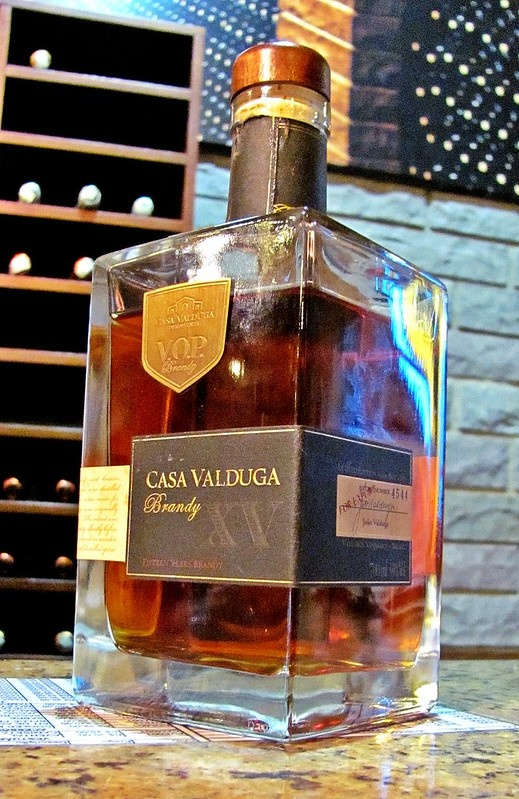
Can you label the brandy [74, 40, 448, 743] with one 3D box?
[{"bbox_3d":[0.007,-0.010,0.430,0.205,0.329,0.193,4,-9,-16],"label":"brandy"}]
